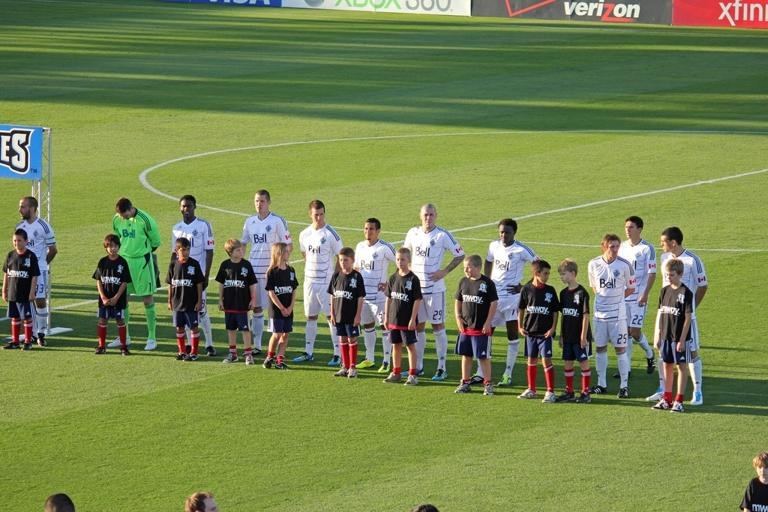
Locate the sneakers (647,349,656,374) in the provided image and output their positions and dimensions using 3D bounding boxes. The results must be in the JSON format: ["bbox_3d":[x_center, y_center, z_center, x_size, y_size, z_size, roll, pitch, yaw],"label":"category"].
[{"bbox_3d":[6.397,2.543,33.542,0.198,0.572,0.253,-1,-16,34],"label":"sneakers"}]

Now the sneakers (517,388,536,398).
[{"bbox_3d":[3.319,3.193,32.317,0.428,0.224,0.238,0,-1,6],"label":"sneakers"}]

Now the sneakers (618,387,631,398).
[{"bbox_3d":[5.557,3.170,32.294,0.225,0.210,0.553,-2,-5,16],"label":"sneakers"}]

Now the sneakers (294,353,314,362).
[{"bbox_3d":[-1.924,2.492,34.028,0.544,0.227,0.193,-3,-10,3],"label":"sneakers"}]

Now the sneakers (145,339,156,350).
[{"bbox_3d":[-5.724,2.205,34.552,0.290,0.254,0.364,0,-1,-13],"label":"sneakers"}]

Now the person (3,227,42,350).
[{"bbox_3d":[-8.857,0.837,34.263,0.844,2.935,0.664,0,-1,28],"label":"person"}]

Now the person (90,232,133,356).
[{"bbox_3d":[-6.595,0.947,34.223,0.809,2.915,0.670,0,-1,-39],"label":"person"}]
